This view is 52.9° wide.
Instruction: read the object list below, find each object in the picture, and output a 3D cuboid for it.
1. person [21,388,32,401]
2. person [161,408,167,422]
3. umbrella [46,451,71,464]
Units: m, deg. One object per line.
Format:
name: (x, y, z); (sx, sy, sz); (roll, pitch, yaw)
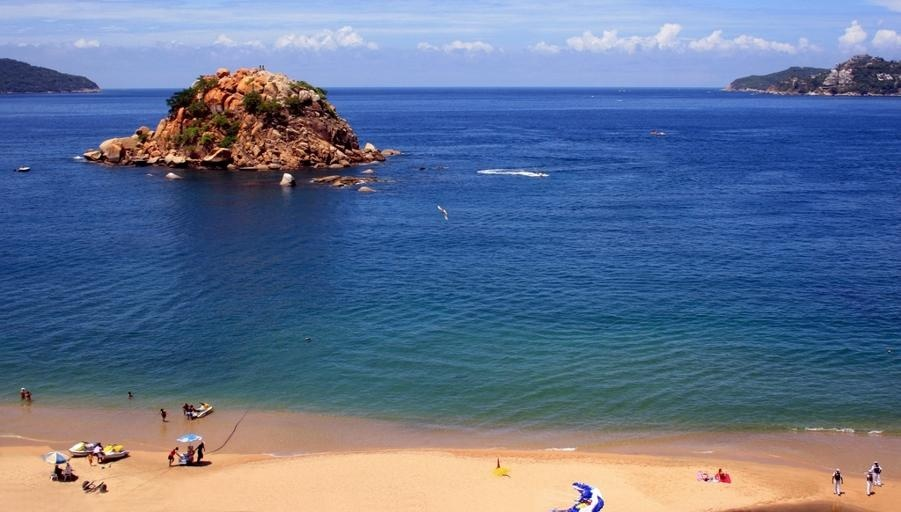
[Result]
person: (-46.996, 15.308, 99.849); (1.090, 1.151, 1.410); (-3, 15, -21)
person: (-31.266, 17.207, 98.007); (0.647, 1.194, 1.049); (-2, 15, -15)
umbrella: (-40.599, 20.879, 93.057); (2.155, 1.552, 1.878); (-1, 14, -12)
